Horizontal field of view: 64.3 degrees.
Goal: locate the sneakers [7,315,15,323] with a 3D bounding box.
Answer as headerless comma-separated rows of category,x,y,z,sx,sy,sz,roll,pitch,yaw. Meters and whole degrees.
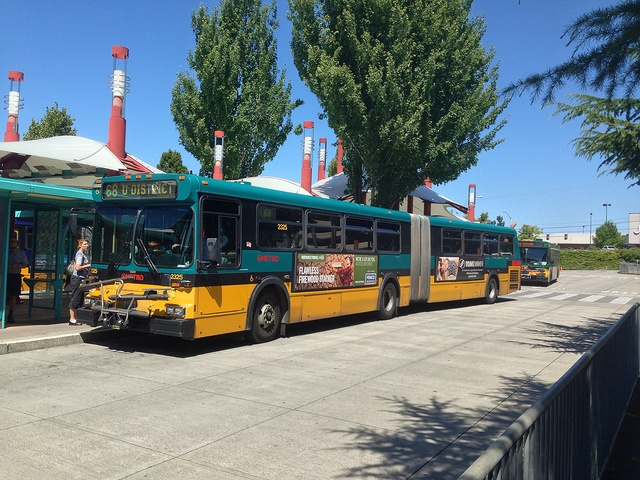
sneakers,-8.042,2.045,13.305,0.153,0.188,0.314,1,1,-32
